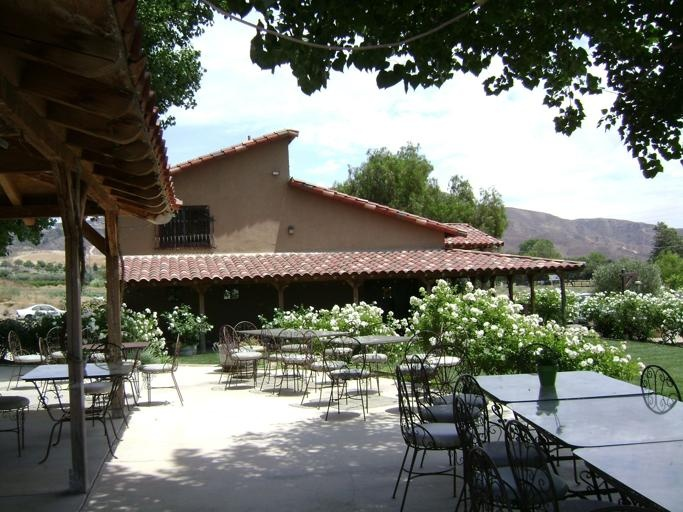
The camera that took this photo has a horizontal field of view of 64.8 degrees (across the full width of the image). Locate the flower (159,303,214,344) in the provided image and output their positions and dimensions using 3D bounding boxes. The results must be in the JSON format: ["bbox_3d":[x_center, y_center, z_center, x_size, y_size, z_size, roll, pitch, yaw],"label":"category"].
[{"bbox_3d":[-4.775,1.775,15.862,0.904,0.823,0.756,-15,0,29],"label":"flower"}]

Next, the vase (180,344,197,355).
[{"bbox_3d":[-4.485,2.709,15.627,0.292,0.230,0.307,1,-5,5],"label":"vase"}]

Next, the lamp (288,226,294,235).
[{"bbox_3d":[-1.715,-0.876,18.338,0.234,0.316,0.093,-1,-6,-10],"label":"lamp"}]
